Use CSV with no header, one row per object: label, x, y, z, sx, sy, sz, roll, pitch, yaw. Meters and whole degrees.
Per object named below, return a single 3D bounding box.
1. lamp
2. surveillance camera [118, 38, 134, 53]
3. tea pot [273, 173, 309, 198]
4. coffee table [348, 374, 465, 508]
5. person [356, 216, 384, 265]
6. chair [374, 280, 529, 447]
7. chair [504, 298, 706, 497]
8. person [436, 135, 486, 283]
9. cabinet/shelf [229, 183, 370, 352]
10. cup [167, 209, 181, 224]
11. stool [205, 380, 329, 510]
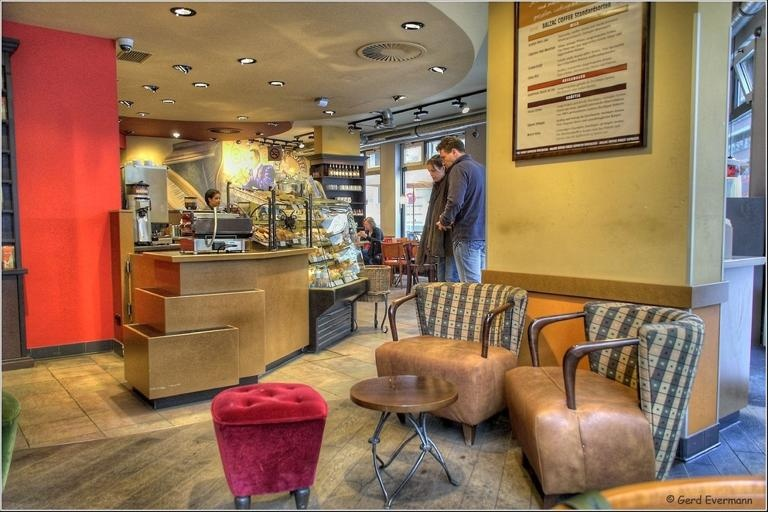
lamp,0.748,-3.087,11.462,1.434,0.367,4.308,-5,7,-39
surveillance camera,-3.128,-2.552,6.293,0.152,0.107,0.149,-1,6,-9
tea pot,-1.132,-0.865,6.384,0.345,0.266,0.393,-1,0,24
coffee table,0.105,1.255,3.733,0.859,0.657,0.776,0,2,-6
person,-0.259,-0.187,10.522,0.689,1.123,0.550,0,3,-29
chair,0.572,0.845,4.481,1.092,1.043,1.190,-7,8,-37
chair,1.614,1.012,3.927,1.297,1.173,1.342,-3,3,5
person,0.812,-0.495,5.362,0.468,1.495,0.423,0,7,11
cabinet/shelf,-0.993,0.100,6.709,1.203,1.946,1.558,-1,3,11
cup,-3.994,-0.748,9.890,0.182,0.227,0.249,-4,7,-28
stool,-0.749,1.222,3.658,0.820,0.765,0.756,0,-1,-9
